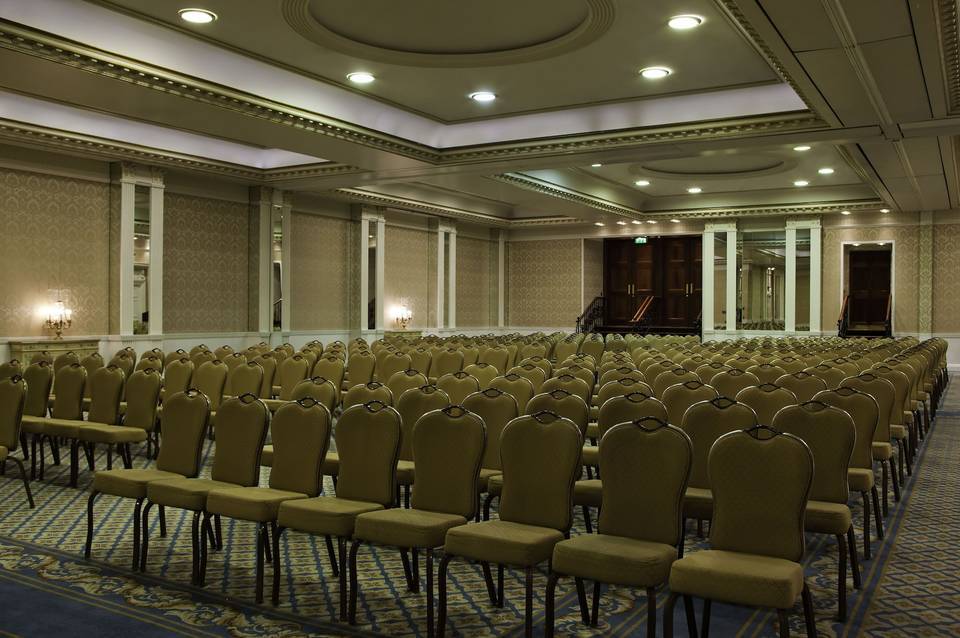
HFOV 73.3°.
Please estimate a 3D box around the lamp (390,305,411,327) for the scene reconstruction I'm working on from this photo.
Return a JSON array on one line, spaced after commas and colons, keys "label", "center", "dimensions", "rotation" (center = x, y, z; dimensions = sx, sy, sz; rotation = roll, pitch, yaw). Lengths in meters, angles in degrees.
[{"label": "lamp", "center": [-2.116, -0.100, 17.578], "dimensions": [0.565, 0.588, 0.570], "rotation": [3, 2, 31]}]
